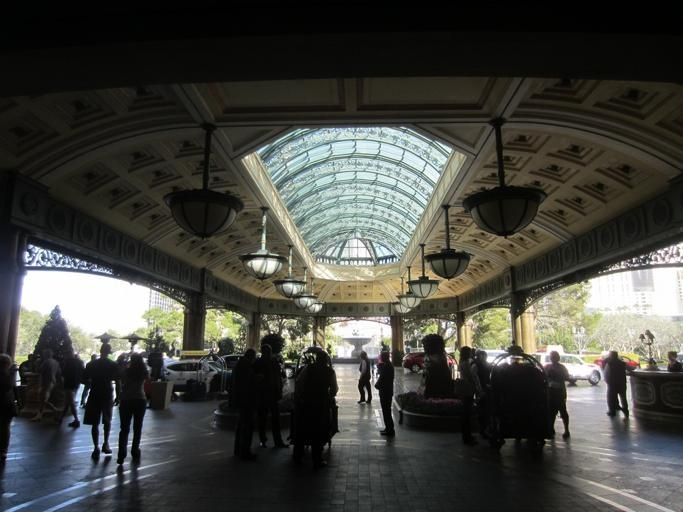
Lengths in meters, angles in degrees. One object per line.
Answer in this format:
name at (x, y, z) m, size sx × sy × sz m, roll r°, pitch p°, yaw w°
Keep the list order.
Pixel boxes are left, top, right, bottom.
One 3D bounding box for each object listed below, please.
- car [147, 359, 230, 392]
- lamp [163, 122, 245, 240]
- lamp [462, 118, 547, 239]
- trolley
car at (-5.934, 4.788, 17.081) m, size 2.029 × 0.612 × 1.364 m, roll 2°, pitch 1°, yaw -12°
lamp at (-3.156, -1.893, 9.540) m, size 1.795 × 2.911 × 1.775 m, roll 3°, pitch -18°, yaw -13°
lamp at (2.821, -1.518, 7.242) m, size 1.179 × 2.280 × 1.033 m, roll 10°, pitch -16°, yaw -31°
trolley at (-0.439, 2.482, 7.066) m, size 0.764 × 1.735 × 0.557 m, roll 11°, pitch -14°, yaw -15°
